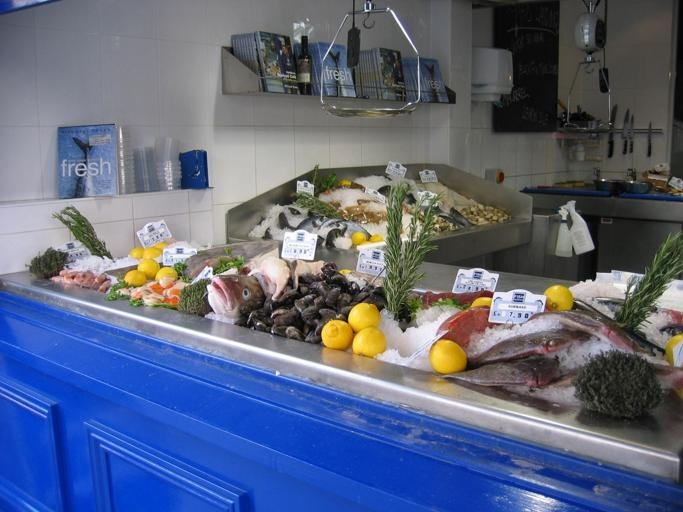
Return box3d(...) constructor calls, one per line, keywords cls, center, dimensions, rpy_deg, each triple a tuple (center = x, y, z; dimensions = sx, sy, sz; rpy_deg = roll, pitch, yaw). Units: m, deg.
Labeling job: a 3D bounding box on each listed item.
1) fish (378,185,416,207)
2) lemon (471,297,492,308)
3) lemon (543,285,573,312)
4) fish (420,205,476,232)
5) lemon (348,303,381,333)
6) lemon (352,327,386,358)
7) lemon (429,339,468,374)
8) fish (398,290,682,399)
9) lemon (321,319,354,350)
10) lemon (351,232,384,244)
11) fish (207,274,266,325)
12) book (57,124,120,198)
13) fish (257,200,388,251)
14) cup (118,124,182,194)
box3d(cls="fish", center=(0.505, -0.544, 4.179), dimensions=(0.355, 0.192, 0.729), rpy_deg=(-2, 14, 5))
box3d(cls="lemon", center=(0.437, 0.145, 1.409), dimensions=(0.039, 0.028, 0.049), rpy_deg=(-1, 4, 15))
box3d(cls="lemon", center=(0.643, 0.129, 1.354), dimensions=(0.051, 0.055, 0.055), rpy_deg=(-9, -1, -45))
box3d(cls="fish", center=(1.047, -0.361, 4.231), dimensions=(0.329, 0.151, 0.352), rpy_deg=(-2, 14, 7))
box3d(cls="lemon", center=(0.066, 0.185, 1.432), dimensions=(0.082, 0.100, 0.087), rpy_deg=(16, 8, 5))
box3d(cls="lemon", center=(0.078, 0.250, 1.294), dimensions=(0.099, 0.065, 0.091), rpy_deg=(-3, 13, 0))
box3d(cls="lemon", center=(0.272, 0.254, 1.195), dimensions=(0.070, 0.090, 0.070), rpy_deg=(8, 3, -40))
box3d(cls="fish", center=(0.472, 0.220, 1.127), dimensions=(0.298, 0.097, 0.330), rpy_deg=(-20, 13, -19))
box3d(cls="lemon", center=(-0.009, 0.240, 1.367), dimensions=(0.099, 0.076, 0.085), rpy_deg=(-10, 15, -26))
box3d(cls="lemon", center=(0.160, -0.116, 3.059), dimensions=(0.192, 0.088, 0.082), rpy_deg=(3, -33, -1))
box3d(cls="fish", center=(-0.389, 0.140, 1.627), dimensions=(0.192, 0.156, 0.170), rpy_deg=(4, 15, 29))
box3d(cls="book", center=(-1.618, -0.602, 2.897), dimensions=(0.469, 0.552, 0.076), rpy_deg=(-1, 5, 1))
box3d(cls="fish", center=(-0.259, -0.212, 3.235), dimensions=(0.836, 0.120, 0.440), rpy_deg=(6, 22, 25))
box3d(cls="cup", center=(-1.352, -0.640, 3.219), dimensions=(0.524, 0.474, 0.319), rpy_deg=(-2, 3, 4))
